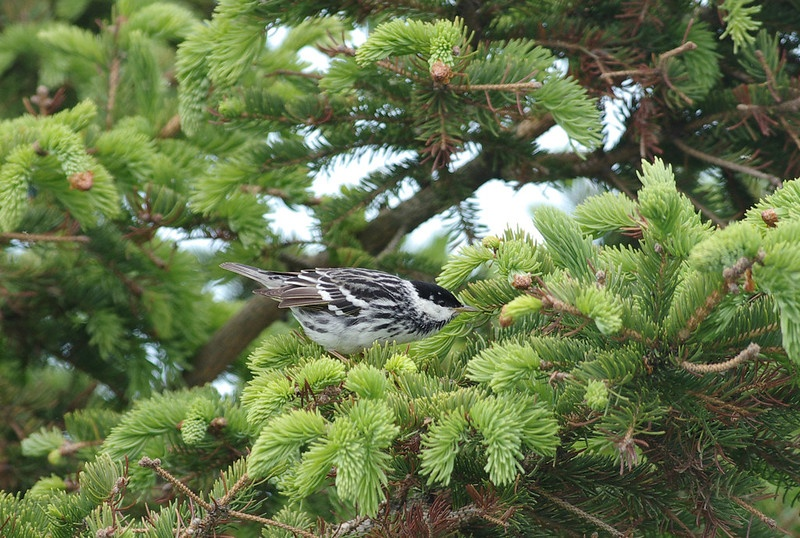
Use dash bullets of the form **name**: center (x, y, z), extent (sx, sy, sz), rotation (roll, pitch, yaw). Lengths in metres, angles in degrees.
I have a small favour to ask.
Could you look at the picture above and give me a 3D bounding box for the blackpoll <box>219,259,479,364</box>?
- **blackpoll**: center (-0.534, 0.375, 9.686), extent (1.998, 0.588, 0.870), rotation (10, 86, 6)
